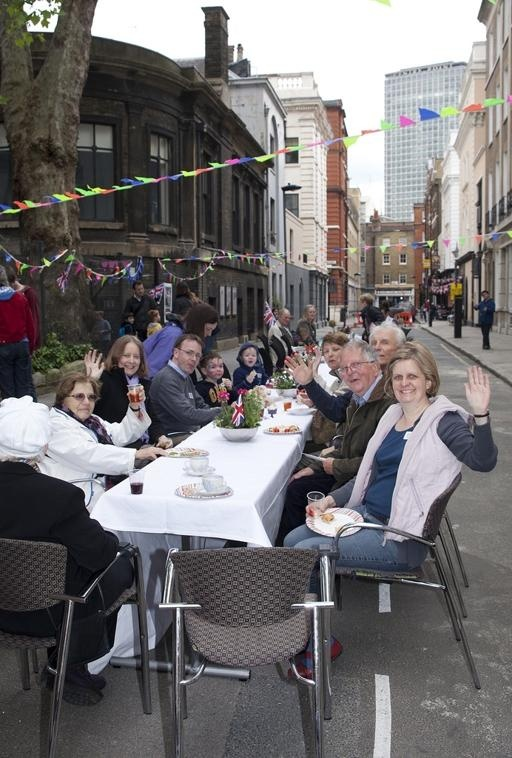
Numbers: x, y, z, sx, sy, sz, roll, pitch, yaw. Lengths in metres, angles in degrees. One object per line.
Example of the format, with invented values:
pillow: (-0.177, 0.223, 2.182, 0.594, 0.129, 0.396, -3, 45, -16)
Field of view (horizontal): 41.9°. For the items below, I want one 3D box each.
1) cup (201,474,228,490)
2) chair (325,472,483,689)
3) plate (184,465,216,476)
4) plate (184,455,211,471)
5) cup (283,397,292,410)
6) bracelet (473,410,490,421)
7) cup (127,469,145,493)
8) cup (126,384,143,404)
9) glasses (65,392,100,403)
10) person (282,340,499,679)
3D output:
cup: (-0.200, 0.521, 3.374, 0.093, 0.063, 0.074, 5, -6, -39)
chair: (0.812, 1.158, 3.868, 0.882, 1.185, 1.110, -1, 2, 12)
plate: (-0.322, 0.511, 3.784, 0.097, 0.041, 0.100, -3, 4, -7)
plate: (-0.340, 0.484, 3.780, 0.089, 0.076, 0.121, -3, 4, 0)
cup: (0.319, 0.252, 6.758, 0.081, 0.096, 0.083, -1, 7, 0)
bracelet: (1.059, 0.169, 3.141, 0.040, 0.045, 0.042, 3, -4, -18)
cup: (-0.625, 0.539, 3.494, 0.087, 0.108, 0.072, 0, -2, -40)
cup: (-0.838, 0.096, 4.625, 0.114, 0.124, 0.118, 0, -5, 0)
glasses: (-1.074, 0.116, 4.085, 0.093, 0.033, 0.093, -25, -25, 34)
person: (0.667, 0.681, 3.656, 1.105, 1.711, 0.718, 5, 5, 19)
